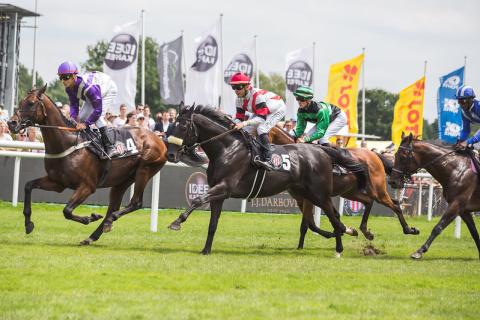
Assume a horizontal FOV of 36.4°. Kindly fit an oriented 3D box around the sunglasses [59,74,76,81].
[{"bbox_3d":[-2.676,-1.283,11.253,0.260,0.117,0.142,5,3,13],"label":"sunglasses"}]

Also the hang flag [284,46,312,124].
[{"bbox_3d":[1.945,-2.506,23.857,0.933,2.362,0.031,5,-25,2],"label":"hang flag"}]

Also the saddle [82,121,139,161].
[{"bbox_3d":[-2.015,-0.271,11.468,0.736,0.251,0.464,-1,33,-35],"label":"saddle"}]

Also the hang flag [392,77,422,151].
[{"bbox_3d":[5.377,-1.639,23.231,0.916,0.209,2.584,3,42,11],"label":"hang flag"}]

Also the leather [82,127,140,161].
[{"bbox_3d":[-2.008,-0.254,11.481,0.731,0.254,0.453,-2,28,-37],"label":"leather"}]

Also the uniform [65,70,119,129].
[{"bbox_3d":[-2.279,-1.005,11.546,0.677,0.745,0.901,13,14,40],"label":"uniform"}]

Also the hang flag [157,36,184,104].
[{"bbox_3d":[-2.197,-2.899,23.376,0.901,2.210,0.629,4,3,-6],"label":"hang flag"}]

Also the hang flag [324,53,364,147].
[{"bbox_3d":[3.264,-2.137,22.778,1.258,0.294,3.360,-12,-34,-1],"label":"hang flag"}]

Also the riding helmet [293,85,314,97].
[{"bbox_3d":[1.065,-1.159,12.103,0.272,0.138,0.199,9,-8,-34],"label":"riding helmet"}]

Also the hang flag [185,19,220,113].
[{"bbox_3d":[-1.089,-2.897,22.437,1.033,2.442,0.972,4,3,-5],"label":"hang flag"}]

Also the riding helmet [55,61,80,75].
[{"bbox_3d":[-2.618,-1.402,11.175,0.293,0.211,0.262,4,3,-13],"label":"riding helmet"}]
